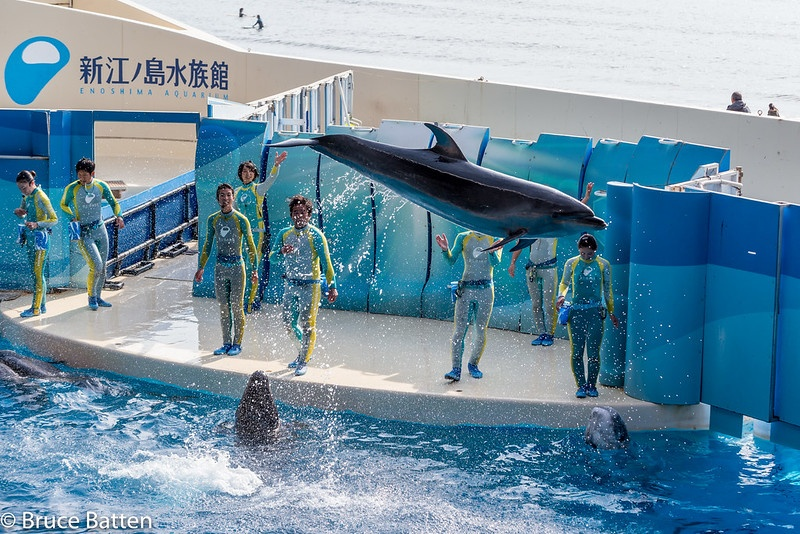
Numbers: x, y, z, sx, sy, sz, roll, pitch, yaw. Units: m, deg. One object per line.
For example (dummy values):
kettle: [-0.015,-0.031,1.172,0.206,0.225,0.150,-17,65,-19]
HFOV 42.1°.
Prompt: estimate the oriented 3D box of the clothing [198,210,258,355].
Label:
clothing: [-2.033,0.048,12.391,0.693,2.004,0.445,-2,1,-1]

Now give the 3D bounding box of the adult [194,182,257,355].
adult: [-2.102,0.007,12.505,0.702,2.041,0.866,0,9,-11]

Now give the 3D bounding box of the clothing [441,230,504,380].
clothing: [0.753,0.429,11.879,0.670,1.723,1.334,2,9,5]

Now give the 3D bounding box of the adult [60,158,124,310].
adult: [-4.066,-0.444,13.731,0.763,1.974,0.516,-1,9,-19]

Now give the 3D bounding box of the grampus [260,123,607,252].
grampus: [0.398,-0.842,9.845,3.001,1.044,0.893,12,21,17]

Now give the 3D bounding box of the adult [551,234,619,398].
adult: [2.048,0.539,11.544,0.683,1.789,0.496,3,9,11]

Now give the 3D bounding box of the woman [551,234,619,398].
woman: [2.044,0.539,11.543,0.676,1.789,0.492,3,9,10]

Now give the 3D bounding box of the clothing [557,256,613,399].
clothing: [2.035,0.551,11.497,0.641,1.802,0.469,0,-1,-1]

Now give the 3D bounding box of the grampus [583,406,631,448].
grampus: [2.216,1.678,11.188,0.504,0.471,0.503,-1,25,12]

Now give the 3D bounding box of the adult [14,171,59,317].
adult: [-4.730,-0.326,13.536,0.479,1.870,0.628,-2,9,-20]

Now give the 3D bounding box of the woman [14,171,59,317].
woman: [-4.733,-0.327,13.547,0.479,1.870,0.652,-2,9,-20]

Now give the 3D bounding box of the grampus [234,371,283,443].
grampus: [-1.541,1.505,11.169,0.432,0.733,0.253,2,-2,-8]
